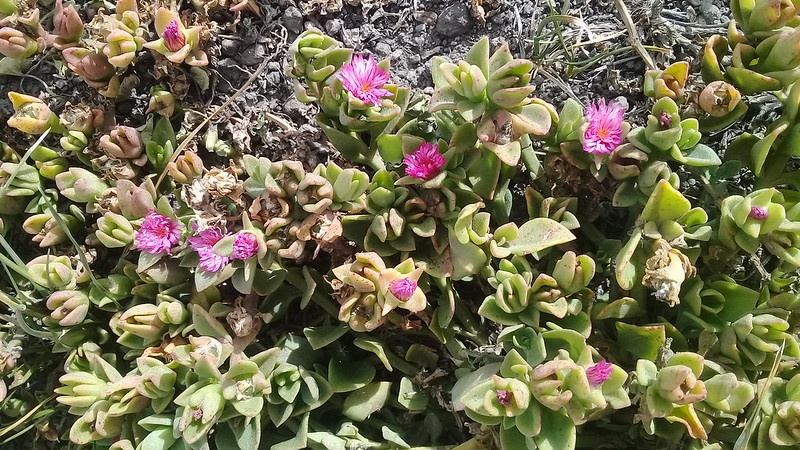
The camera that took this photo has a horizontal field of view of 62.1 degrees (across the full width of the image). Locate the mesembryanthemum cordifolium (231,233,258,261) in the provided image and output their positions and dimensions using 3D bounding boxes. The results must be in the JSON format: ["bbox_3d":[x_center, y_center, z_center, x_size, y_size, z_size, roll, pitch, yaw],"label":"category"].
[{"bbox_3d":[-0.342,0.045,1.475,0.065,0.052,0.037,-5,9,-4],"label":"mesembryanthemum cordifolium"}]

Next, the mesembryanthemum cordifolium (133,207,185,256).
[{"bbox_3d":[-0.563,0.020,1.551,0.106,0.089,0.051,-41,35,-19],"label":"mesembryanthemum cordifolium"}]

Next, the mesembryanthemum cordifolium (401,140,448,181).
[{"bbox_3d":[0.059,-0.141,1.464,0.078,0.095,0.044,-69,15,1],"label":"mesembryanthemum cordifolium"}]

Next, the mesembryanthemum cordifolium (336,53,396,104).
[{"bbox_3d":[-0.082,-0.322,1.499,0.124,0.124,0.050,139,145,-65],"label":"mesembryanthemum cordifolium"}]

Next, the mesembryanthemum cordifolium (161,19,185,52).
[{"bbox_3d":[-0.549,-0.458,1.606,0.047,0.049,0.069,-47,0,-19],"label":"mesembryanthemum cordifolium"}]
